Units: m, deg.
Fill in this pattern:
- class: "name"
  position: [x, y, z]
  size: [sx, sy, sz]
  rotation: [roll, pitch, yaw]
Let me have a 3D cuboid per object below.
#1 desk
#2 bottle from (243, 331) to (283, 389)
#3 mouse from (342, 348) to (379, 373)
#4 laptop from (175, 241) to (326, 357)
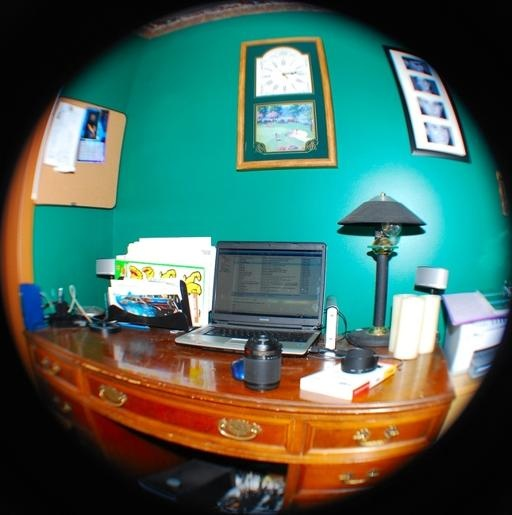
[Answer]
- class: "desk"
  position: [-0.103, 0.444, 1.284]
  size: [1.157, 0.529, 0.402]
  rotation: [7, 29, 17]
- class: "bottle"
  position: [0.021, 0.240, 0.992]
  size: [0.096, 0.111, 0.085]
  rotation: [0, -3, -18]
- class: "mouse"
  position: [0.240, 0.236, 1.001]
  size: [0.068, 0.023, 0.056]
  rotation: [-6, 7, -13]
- class: "laptop"
  position: [-0.014, 0.112, 1.251]
  size: [0.408, 0.246, 0.311]
  rotation: [0, 12, 21]
